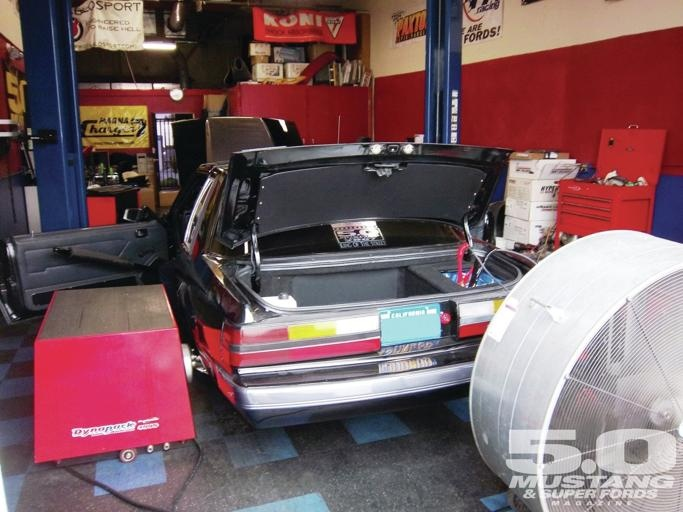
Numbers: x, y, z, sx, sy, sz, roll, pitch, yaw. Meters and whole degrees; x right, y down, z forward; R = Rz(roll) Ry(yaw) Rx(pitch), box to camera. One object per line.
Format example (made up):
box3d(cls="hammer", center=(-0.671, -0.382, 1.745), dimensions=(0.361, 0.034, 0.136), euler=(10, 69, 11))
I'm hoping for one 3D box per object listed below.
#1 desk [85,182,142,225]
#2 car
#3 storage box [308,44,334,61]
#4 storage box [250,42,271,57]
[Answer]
box3d(cls="desk", center=(-3.175, -0.741, 6.640), dimensions=(0.414, 0.590, 0.750), euler=(-7, 7, 1))
box3d(cls="car", center=(-0.391, 0.100, 3.072), dimensions=(2.053, 0.927, 2.153), euler=(-5, 10, -26))
box3d(cls="storage box", center=(-0.428, -4.187, 9.969), dimensions=(0.411, 0.407, 0.398), euler=(-2, 9, -22))
box3d(cls="storage box", center=(-1.600, -4.074, 9.428), dimensions=(0.372, 0.271, 0.193), euler=(0, 6, -12))
